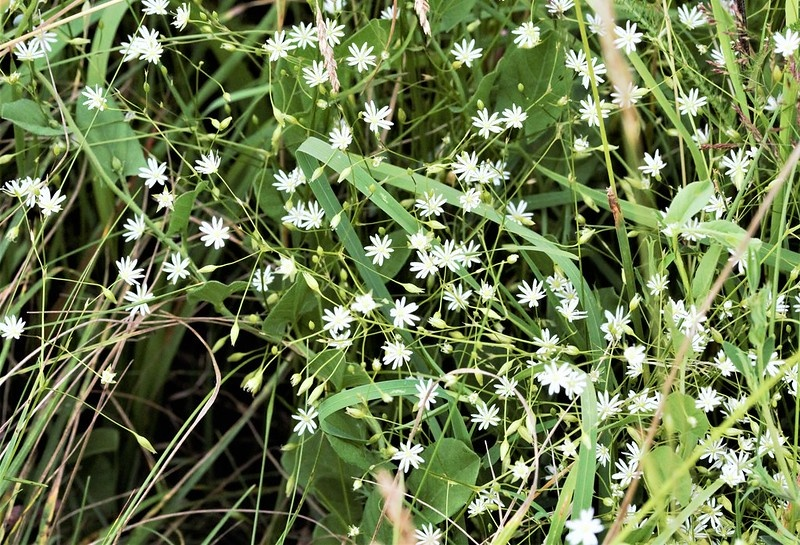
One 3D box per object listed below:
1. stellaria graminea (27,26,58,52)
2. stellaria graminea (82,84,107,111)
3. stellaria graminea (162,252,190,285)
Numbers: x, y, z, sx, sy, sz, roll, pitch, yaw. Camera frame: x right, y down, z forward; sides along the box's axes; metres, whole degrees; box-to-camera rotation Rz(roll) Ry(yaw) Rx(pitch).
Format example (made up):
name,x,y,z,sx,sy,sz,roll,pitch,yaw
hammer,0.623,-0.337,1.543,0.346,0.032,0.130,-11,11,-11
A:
name,x,y,z,sx,sy,sz,roll,pitch,yaw
stellaria graminea,-0.654,-0.419,1.402,0.048,0.012,0.061,3,50,0
stellaria graminea,-0.557,-0.322,1.411,0.052,0.018,0.064,-7,85,-36
stellaria graminea,-0.394,0.000,1.360,0.057,0.018,0.072,-1,72,7
